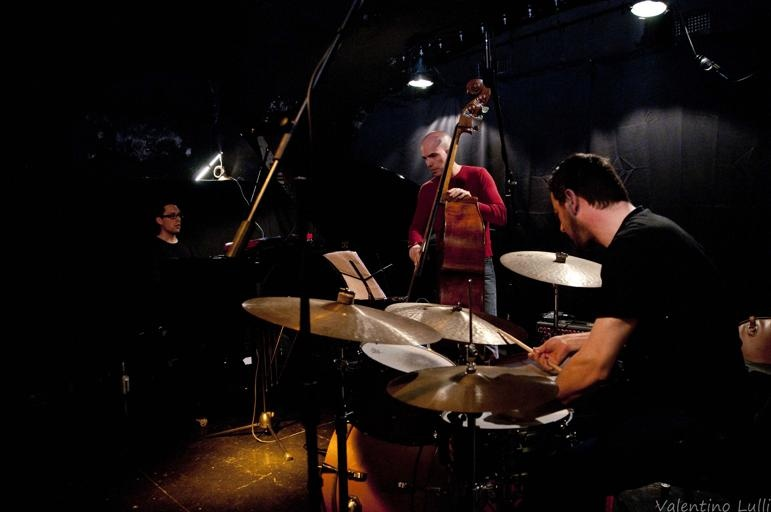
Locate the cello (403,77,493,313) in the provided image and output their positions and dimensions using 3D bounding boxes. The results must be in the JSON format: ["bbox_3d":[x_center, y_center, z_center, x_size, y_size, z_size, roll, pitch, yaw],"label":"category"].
[{"bbox_3d":[0.623,-0.653,6.685,0.817,2.144,0.743,-1,2,3],"label":"cello"}]

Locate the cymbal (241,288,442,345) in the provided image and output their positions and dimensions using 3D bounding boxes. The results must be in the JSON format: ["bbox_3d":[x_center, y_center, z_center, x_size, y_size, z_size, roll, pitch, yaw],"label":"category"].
[{"bbox_3d":[-0.253,0.480,4.935,0.722,0.166,0.707,17,-4,-43],"label":"cymbal"}]

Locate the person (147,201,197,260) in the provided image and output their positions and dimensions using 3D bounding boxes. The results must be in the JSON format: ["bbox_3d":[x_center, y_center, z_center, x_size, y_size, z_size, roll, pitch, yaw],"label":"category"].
[{"bbox_3d":[-2.499,-0.327,7.864,0.390,0.646,0.852,-1,2,5],"label":"person"}]

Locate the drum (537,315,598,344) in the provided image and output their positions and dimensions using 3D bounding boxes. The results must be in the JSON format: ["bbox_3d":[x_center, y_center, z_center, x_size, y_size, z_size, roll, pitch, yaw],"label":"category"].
[{"bbox_3d":[1.828,0.702,6.844,0.368,0.122,0.367,-2,4,0],"label":"drum"}]

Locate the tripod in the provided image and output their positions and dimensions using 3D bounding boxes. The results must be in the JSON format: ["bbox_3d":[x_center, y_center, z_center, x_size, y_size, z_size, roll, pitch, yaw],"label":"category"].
[{"bbox_3d":[-1.261,1.448,7.023,1.007,0.881,0.937,6,-7,-37],"label":"tripod"}]

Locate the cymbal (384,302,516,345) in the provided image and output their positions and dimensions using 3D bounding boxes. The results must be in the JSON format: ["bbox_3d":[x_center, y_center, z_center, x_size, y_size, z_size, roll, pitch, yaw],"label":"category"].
[{"bbox_3d":[0.560,0.495,5.379,0.844,0.133,0.830,-9,24,-44],"label":"cymbal"}]
